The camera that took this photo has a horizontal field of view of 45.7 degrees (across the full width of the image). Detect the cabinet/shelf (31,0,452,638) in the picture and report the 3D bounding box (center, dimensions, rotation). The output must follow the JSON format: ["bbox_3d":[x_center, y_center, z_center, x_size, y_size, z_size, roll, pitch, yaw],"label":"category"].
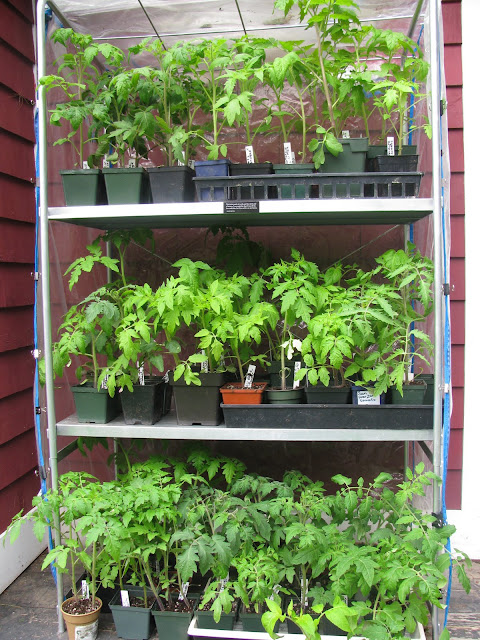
[{"bbox_3d":[-0.002,-0.083,2.203,1.541,2.445,1.202,0,6,20],"label":"cabinet/shelf"}]

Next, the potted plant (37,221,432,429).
[{"bbox_3d":[-0.036,-0.006,2.293,1.502,0.514,0.729,1,5,10],"label":"potted plant"}]
